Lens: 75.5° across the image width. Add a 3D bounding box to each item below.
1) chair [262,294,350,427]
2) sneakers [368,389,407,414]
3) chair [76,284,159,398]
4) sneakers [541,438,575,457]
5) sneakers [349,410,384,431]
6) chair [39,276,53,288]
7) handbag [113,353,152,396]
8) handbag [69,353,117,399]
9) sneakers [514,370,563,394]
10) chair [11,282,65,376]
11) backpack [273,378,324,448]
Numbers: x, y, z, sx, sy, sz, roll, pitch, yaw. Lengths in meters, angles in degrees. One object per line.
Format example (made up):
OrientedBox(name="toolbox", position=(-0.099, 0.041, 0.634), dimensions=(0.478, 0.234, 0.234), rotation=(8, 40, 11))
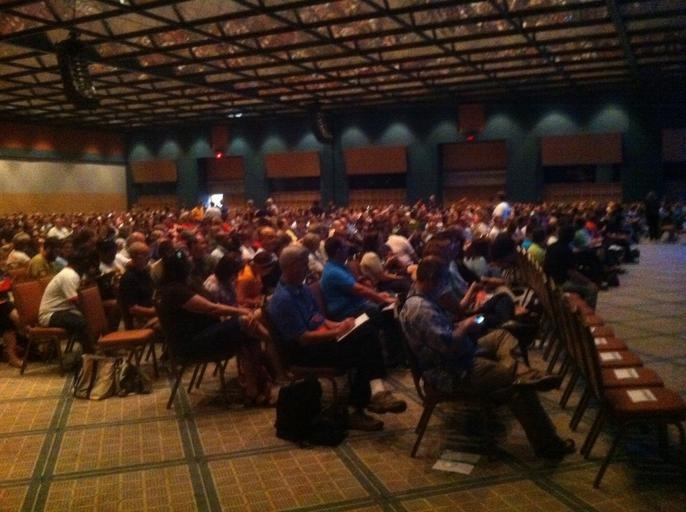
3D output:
OrientedBox(name="chair", position=(-0.373, 1.052, 4.095), dimensions=(0.817, 1.095, 0.767), rotation=(-13, -9, 21))
OrientedBox(name="sneakers", position=(0.399, 1.306, 4.043), dimensions=(0.311, 0.131, 0.173), rotation=(-2, 2, 24))
OrientedBox(name="chair", position=(-2.598, 0.931, 5.198), dimensions=(0.787, 1.174, 0.746), rotation=(-2, 2, 7))
OrientedBox(name="sneakers", position=(1.552, 1.382, 3.211), dimensions=(0.281, 0.124, 0.079), rotation=(-5, 6, -21))
OrientedBox(name="sneakers", position=(0.193, 1.395, 3.821), dimensions=(0.250, 0.106, 0.138), rotation=(-2, 0, 23))
OrientedBox(name="chair", position=(-4.162, 0.343, 6.201), dimensions=(0.169, 0.126, 0.168), rotation=(0, 2, 9))
OrientedBox(name="handbag", position=(-2.279, 1.304, 4.874), dimensions=(0.327, 0.403, 0.378), rotation=(-5, -10, -11))
OrientedBox(name="handbag", position=(-2.667, 1.352, 4.839), dimensions=(0.478, 0.485, 0.434), rotation=(4, -28, -29))
OrientedBox(name="sneakers", position=(1.347, 0.888, 3.106), dimensions=(0.296, 0.172, 0.208), rotation=(-4, 6, -14))
OrientedBox(name="chair", position=(-3.840, 0.864, 5.812), dimensions=(0.693, 1.074, 0.691), rotation=(-2, 5, -23))
OrientedBox(name="backpack", position=(-0.371, 1.289, 3.683), dimensions=(0.394, 0.455, 0.311), rotation=(-3, 6, -7))
